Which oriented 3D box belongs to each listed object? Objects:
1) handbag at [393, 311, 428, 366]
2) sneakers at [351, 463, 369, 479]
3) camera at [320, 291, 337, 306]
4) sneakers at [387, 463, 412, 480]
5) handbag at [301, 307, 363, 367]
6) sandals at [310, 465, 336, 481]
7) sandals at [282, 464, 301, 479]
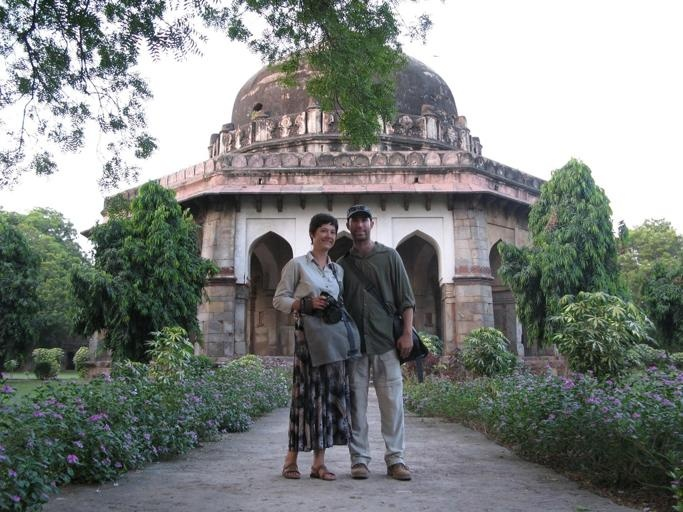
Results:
[{"bbox_3d":[0.534,0.733,4.913,0.255,0.440,0.123,-18,-10,-22],"label":"handbag"},{"bbox_3d":[0.158,1.698,4.575,0.149,0.112,0.152,1,-10,-8],"label":"sneakers"},{"bbox_3d":[-0.103,0.359,4.605,0.115,0.075,0.122,24,-4,3],"label":"camera"},{"bbox_3d":[0.462,1.706,4.557,0.075,0.104,0.228,2,-15,-16],"label":"sneakers"},{"bbox_3d":[-0.096,0.652,4.573,0.387,0.414,0.209,2,-24,-36],"label":"handbag"},{"bbox_3d":[-0.149,1.705,4.566,0.214,0.098,0.151,-1,-10,6],"label":"sandals"},{"bbox_3d":[-0.395,1.703,4.582,0.153,0.101,0.173,0,-10,-3],"label":"sandals"}]
